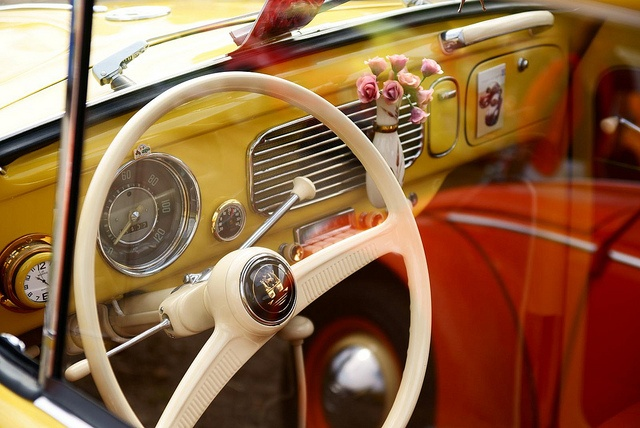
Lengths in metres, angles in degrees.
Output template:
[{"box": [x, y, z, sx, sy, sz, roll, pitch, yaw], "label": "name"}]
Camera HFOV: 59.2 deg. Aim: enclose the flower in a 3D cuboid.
[{"box": [0.199, -0.327, 1.513, 0.186, 0.199, 0.213, 13, -20, -32], "label": "flower"}]
